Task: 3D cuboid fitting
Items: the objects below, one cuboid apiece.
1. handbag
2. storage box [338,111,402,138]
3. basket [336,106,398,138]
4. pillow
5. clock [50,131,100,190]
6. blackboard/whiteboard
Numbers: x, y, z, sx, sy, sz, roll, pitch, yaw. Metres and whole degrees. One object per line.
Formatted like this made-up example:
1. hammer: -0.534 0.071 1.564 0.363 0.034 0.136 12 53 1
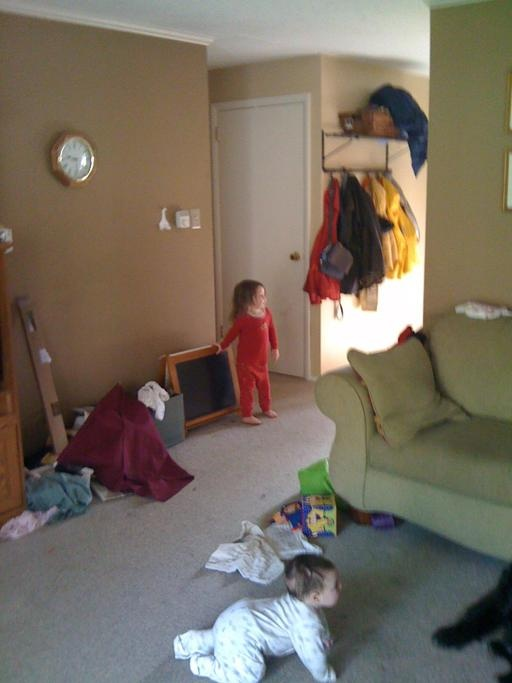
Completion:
1. handbag: 0.572 -0.795 3.721 0.208 0.707 0.133 -5 9 -25
2. storage box: 0.827 -1.615 3.889 0.250 0.134 0.340 18 29 30
3. basket: 0.843 -1.622 3.906 0.262 0.138 0.344 22 33 35
4. pillow: 0.578 0.202 2.046 0.384 0.416 0.113 -17 -9 -42
5. clock: -0.957 -0.950 2.678 0.260 0.067 0.268 -37 42 -5
6. blackboard/whiteboard: -0.319 0.298 3.311 0.438 0.504 0.185 -13 7 -30
